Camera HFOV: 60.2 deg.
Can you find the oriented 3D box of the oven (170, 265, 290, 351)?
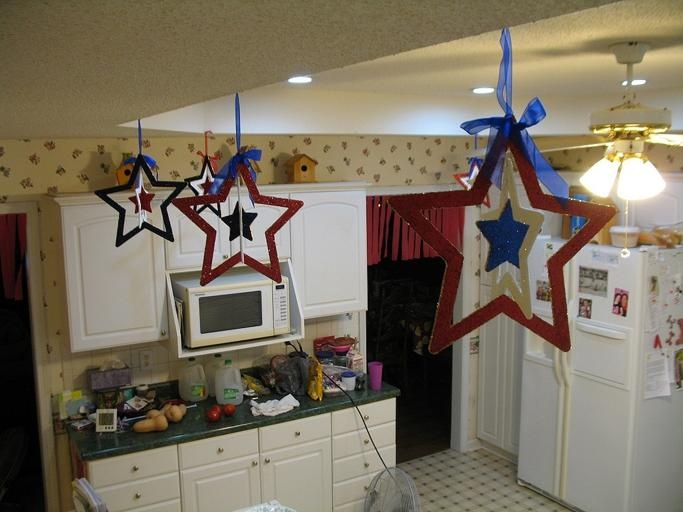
[{"bbox_3d":[-0.654,0.465,3.997,0.697,0.424,0.487,-6,-24,-8],"label":"oven"}]

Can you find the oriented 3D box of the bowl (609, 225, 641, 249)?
[{"bbox_3d":[1.970,-0.129,4.066,0.156,0.108,0.159,0,3,0],"label":"bowl"}]

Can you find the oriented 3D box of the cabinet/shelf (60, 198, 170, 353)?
[{"bbox_3d":[-1.472,0.093,3.752,0.631,0.993,0.351,-4,2,-27],"label":"cabinet/shelf"}]

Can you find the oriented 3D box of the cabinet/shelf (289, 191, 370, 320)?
[{"bbox_3d":[-0.136,-0.044,4.316,0.622,0.945,0.345,-5,8,-26],"label":"cabinet/shelf"}]

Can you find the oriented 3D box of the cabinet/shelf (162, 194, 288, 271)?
[{"bbox_3d":[-0.734,-0.171,3.853,0.831,0.483,0.205,-5,6,-16],"label":"cabinet/shelf"}]

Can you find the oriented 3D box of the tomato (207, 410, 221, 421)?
[{"bbox_3d":[-0.797,0.986,3.684,0.064,0.067,0.069,-10,20,-31],"label":"tomato"}]

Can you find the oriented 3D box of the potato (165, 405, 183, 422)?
[{"bbox_3d":[-1.038,0.980,3.658,0.093,0.051,0.095,14,35,-27],"label":"potato"}]

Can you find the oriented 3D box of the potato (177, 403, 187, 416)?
[{"bbox_3d":[-1.009,0.976,3.727,0.050,0.030,0.064,4,44,-41],"label":"potato"}]

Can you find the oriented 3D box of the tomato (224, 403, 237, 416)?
[{"bbox_3d":[-0.722,0.992,3.798,0.074,0.073,0.073,-5,-12,-29],"label":"tomato"}]

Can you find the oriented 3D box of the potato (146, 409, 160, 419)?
[{"bbox_3d":[-1.159,0.972,3.621,0.047,0.029,0.061,-3,7,12],"label":"potato"}]

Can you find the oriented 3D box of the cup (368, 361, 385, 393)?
[{"bbox_3d":[0.250,0.865,4.238,0.163,0.255,0.165,1,3,0],"label":"cup"}]

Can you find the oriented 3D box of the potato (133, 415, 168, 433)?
[{"bbox_3d":[-1.145,1.018,3.547,0.177,0.077,0.096,-5,12,-1],"label":"potato"}]
